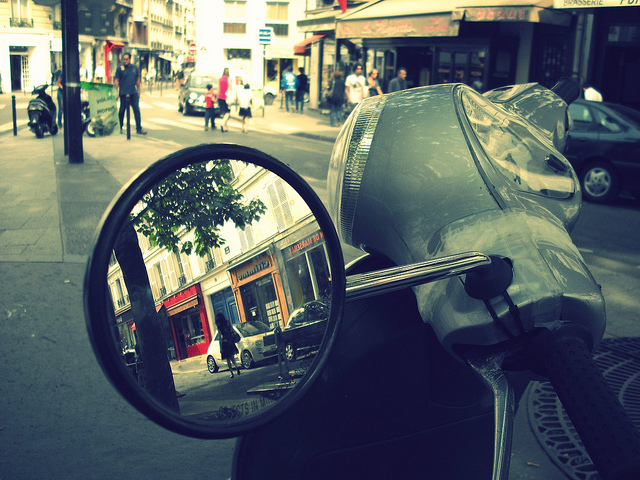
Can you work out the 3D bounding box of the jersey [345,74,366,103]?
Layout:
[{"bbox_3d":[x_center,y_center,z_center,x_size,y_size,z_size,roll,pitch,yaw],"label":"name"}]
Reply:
[{"bbox_3d":[1.133,-4.726,19.585,0.729,1.043,0.345,-9,24,-12],"label":"jersey"}]

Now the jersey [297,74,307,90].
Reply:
[{"bbox_3d":[-0.840,-6.965,27.434,0.551,0.924,0.467,3,15,7],"label":"jersey"}]

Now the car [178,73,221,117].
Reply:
[{"bbox_3d":[-5.099,-6.274,25.256,1.751,1.777,3.158,-2,5,-11],"label":"car"}]
